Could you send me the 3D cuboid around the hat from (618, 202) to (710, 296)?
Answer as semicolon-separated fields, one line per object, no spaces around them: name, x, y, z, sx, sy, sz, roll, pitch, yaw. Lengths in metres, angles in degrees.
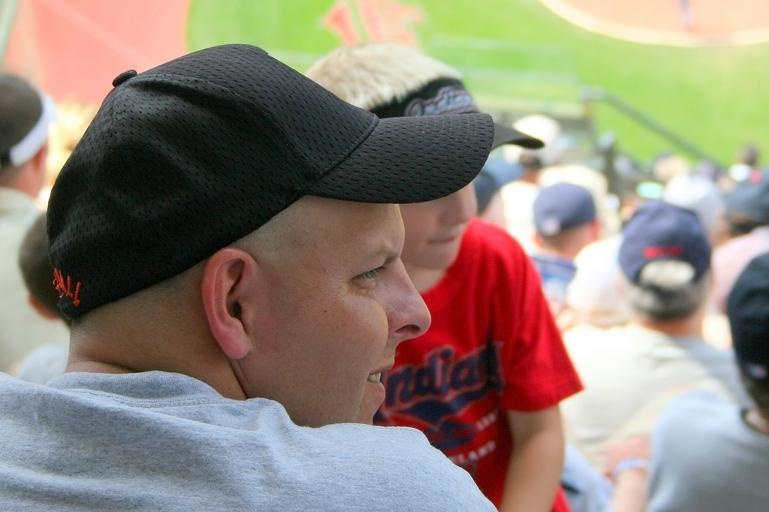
hat;0.928;-0.013;3.253;0.285;0.186;0.348;6;-13;13

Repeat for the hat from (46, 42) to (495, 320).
hat;-0.297;-0.272;2.361;1.090;0.463;0.619;-24;15;-7

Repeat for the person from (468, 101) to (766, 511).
person;0.913;0.217;3.309;0.835;1.018;0.712;6;33;31

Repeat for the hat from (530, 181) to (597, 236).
hat;0.632;-0.191;3.407;0.237;0.154;0.301;-4;9;30
